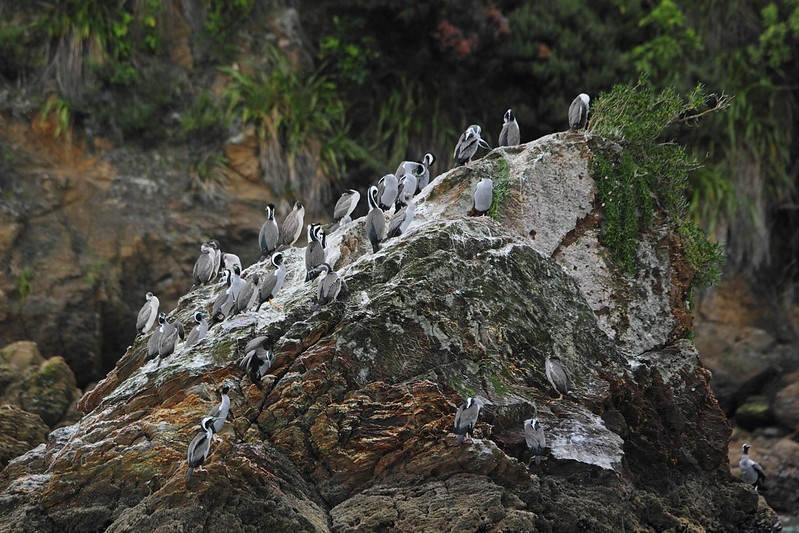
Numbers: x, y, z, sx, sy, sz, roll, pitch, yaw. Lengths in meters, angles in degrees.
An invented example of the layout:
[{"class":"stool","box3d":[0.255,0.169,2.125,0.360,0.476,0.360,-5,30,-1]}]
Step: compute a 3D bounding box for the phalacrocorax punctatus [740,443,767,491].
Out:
[{"class":"phalacrocorax punctatus","box3d":[7.946,4.456,37.046,0.453,1.004,1.207,4,-2,33]}]
